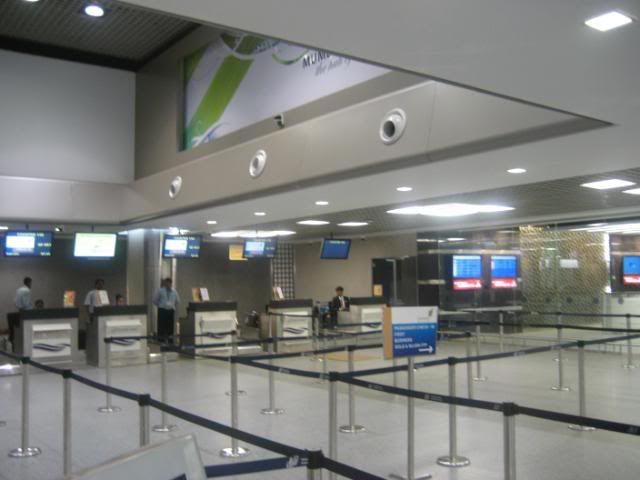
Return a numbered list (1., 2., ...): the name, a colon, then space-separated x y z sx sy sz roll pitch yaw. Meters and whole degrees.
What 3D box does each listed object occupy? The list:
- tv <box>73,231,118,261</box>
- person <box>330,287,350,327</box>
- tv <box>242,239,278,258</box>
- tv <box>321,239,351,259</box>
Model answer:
1. tv: -6.138 0.108 12.726 0.804 0.571 0.112 2 -8 -32
2. person: 0.610 2.031 14.788 0.590 1.138 1.181 -1 -4 -4
3. tv: -1.875 0.223 14.376 0.994 0.508 0.671 0 -4 -14
4. tv: 0.433 0.241 14.289 0.932 0.580 0.512 0 -4 -17
